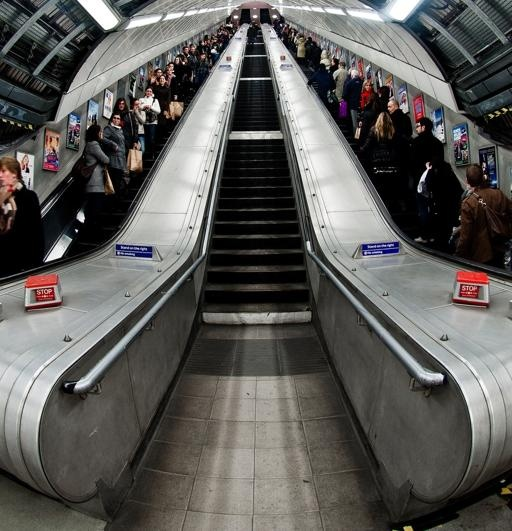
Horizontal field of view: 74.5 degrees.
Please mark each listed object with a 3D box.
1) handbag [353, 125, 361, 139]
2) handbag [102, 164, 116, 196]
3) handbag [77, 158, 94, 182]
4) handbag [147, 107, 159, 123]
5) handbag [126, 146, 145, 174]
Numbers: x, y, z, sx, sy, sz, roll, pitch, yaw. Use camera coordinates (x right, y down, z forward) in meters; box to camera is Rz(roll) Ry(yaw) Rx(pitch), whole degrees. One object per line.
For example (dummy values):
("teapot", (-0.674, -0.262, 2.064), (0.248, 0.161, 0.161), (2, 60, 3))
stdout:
("handbag", (1.961, -2.561, 6.485), (0.149, 0.139, 0.519), (0, 40, 21))
("handbag", (-2.275, -1.290, 5.128), (0.129, 0.419, 0.533), (-7, 10, -22))
("handbag", (-2.437, -1.350, 4.796), (0.302, 0.320, 0.126), (2, 11, 29))
("handbag", (-2.137, -3.023, 6.884), (0.252, 0.271, 0.188), (-13, 26, -38))
("handbag", (-2.162, -1.849, 5.912), (0.253, 0.426, 0.169), (-7, 10, -20))
